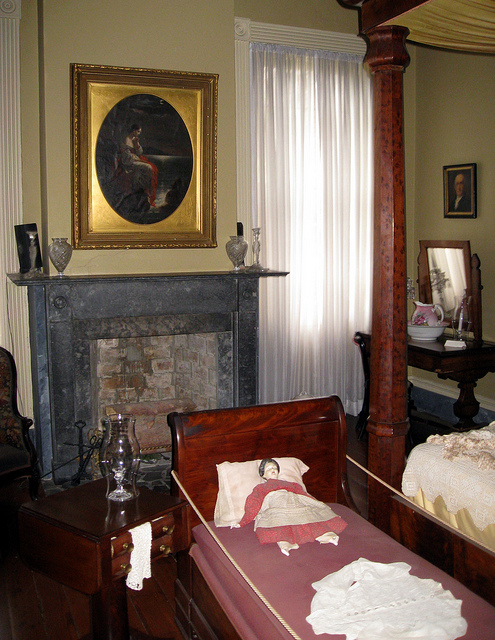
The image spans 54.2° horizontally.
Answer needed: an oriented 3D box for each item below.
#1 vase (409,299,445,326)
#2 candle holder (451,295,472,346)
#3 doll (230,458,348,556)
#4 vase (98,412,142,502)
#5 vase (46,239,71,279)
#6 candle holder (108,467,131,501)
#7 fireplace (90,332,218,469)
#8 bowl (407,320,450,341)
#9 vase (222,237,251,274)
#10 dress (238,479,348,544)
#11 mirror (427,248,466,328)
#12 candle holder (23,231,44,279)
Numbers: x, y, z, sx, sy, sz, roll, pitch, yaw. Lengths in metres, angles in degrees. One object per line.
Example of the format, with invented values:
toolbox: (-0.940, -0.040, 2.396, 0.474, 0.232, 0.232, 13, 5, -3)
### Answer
vase: (1.680, -0.044, 4.548, 0.300, 0.333, 0.228, 10, 13, 39)
candle holder: (1.999, -0.052, 4.488, 0.151, 0.508, 0.165, -2, 22, 18)
doll: (0.130, 0.705, 1.838, 0.382, 0.126, 0.582, -3, 12, -16)
vase: (-0.456, 0.490, 1.754, 0.152, 0.309, 0.216, 4, 2, -12)
vase: (-1.342, -0.442, 3.466, 0.163, 0.297, 0.165, 10, 14, 40)
candle holder: (-0.444, 0.577, 1.755, 0.094, 0.127, 0.104, 1, 0, -10)
fireplace: (-0.696, 0.536, 3.479, 0.908, 1.025, 0.510, -2, 3, -18)
bowl: (1.654, 0.098, 4.430, 0.366, 0.185, 0.264, 6, 2, 15)
vase: (-0.091, -0.525, 4.019, 0.237, 0.382, 0.259, 0, 2, -5)
dress: (0.141, 0.650, 1.811, 0.312, 0.159, 0.456, -2, 5, -19)
mirror: (1.956, -0.359, 4.753, 0.058, 0.686, 0.462, -3, 11, -27)
candle holder: (-1.512, -0.462, 3.436, 0.133, 0.352, 0.259, 3, 2, -24)
